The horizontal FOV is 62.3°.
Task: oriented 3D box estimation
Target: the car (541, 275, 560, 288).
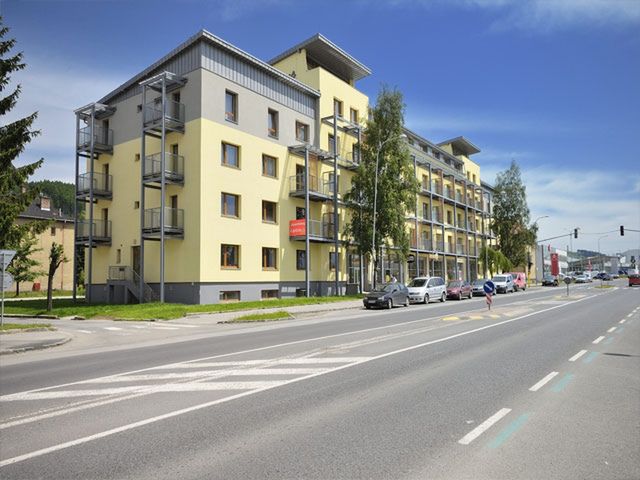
[{"bbox_3d":[29.193,5.194,66.888,1.241,1.202,2.268,-7,-14,34],"label":"car"}]
